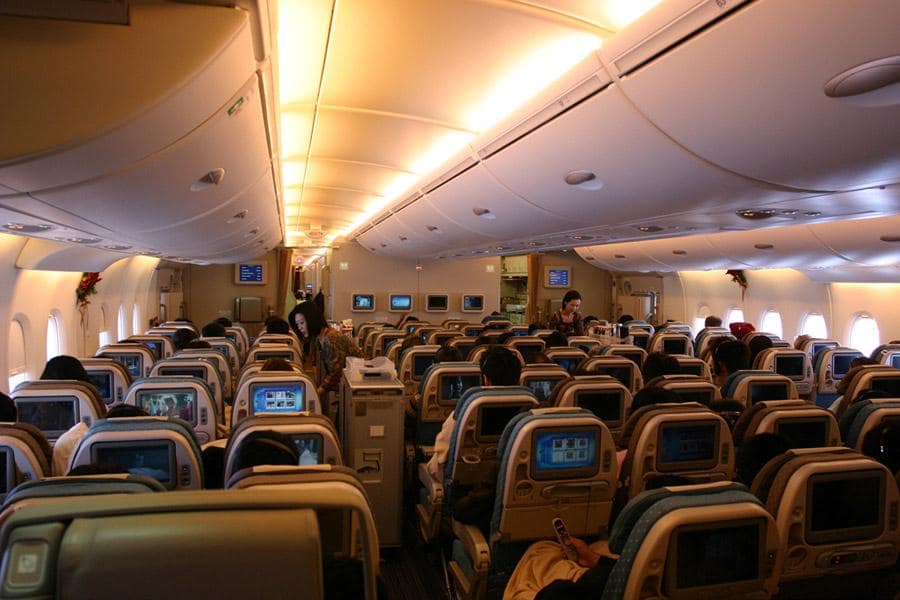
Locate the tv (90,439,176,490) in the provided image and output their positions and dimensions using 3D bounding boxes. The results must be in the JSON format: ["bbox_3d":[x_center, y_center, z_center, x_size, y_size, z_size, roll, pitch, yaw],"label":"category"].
[{"bbox_3d":[-2.066,1.057,4.059,0.492,0.330,0.248,1,3,-11],"label":"tv"}]

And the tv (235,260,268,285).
[{"bbox_3d":[-5.543,-0.763,17.265,0.701,0.498,0.094,2,-9,-22],"label":"tv"}]

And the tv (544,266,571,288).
[{"bbox_3d":[3.588,-0.764,20.753,0.976,0.696,0.246,2,-3,-34],"label":"tv"}]

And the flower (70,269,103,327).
[{"bbox_3d":[-6.135,-0.128,10.494,0.428,0.493,0.883,1,-17,-33],"label":"flower"}]

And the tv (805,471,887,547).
[{"bbox_3d":[2.479,1.303,3.944,0.523,0.423,0.070,-1,4,-12],"label":"tv"}]

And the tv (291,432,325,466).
[{"bbox_3d":[-1.079,1.111,4.817,0.235,0.335,0.247,0,9,-16],"label":"tv"}]
